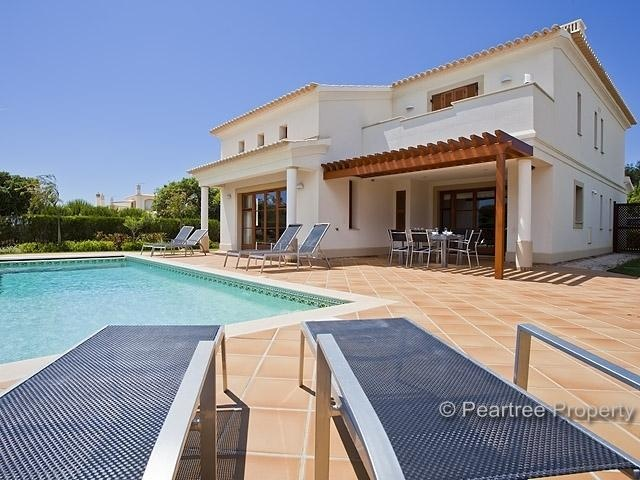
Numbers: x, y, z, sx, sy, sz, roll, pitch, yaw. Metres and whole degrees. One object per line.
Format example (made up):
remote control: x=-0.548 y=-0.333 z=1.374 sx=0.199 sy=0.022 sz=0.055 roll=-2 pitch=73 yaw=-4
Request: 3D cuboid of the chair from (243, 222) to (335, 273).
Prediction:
chair: x=-1.193 y=0.126 z=9.668 sx=1.401 sy=0.789 sz=1.374 roll=-4 pitch=10 yaw=-36

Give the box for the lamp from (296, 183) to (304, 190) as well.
lamp: x=-0.596 y=-1.637 z=12.181 sx=0.200 sy=0.213 sz=0.317 roll=-1 pitch=1 yaw=-2

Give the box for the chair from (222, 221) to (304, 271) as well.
chair: x=-1.235 y=0.176 z=9.809 sx=1.454 sy=0.946 sz=1.425 roll=1 pitch=-1 yaw=-39

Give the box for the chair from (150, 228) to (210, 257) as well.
chair: x=-4.395 y=0.032 z=13.811 sx=1.542 sy=0.831 sz=1.519 roll=0 pitch=-1 yaw=-42

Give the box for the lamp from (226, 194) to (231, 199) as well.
lamp: x=-3.588 y=-1.720 z=16.029 sx=0.139 sy=0.177 sz=0.189 roll=-3 pitch=-6 yaw=32

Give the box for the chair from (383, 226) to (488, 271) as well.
chair: x=3.006 y=0.168 z=10.905 sx=1.960 sy=0.924 sz=3.408 roll=0 pitch=1 yaw=26
